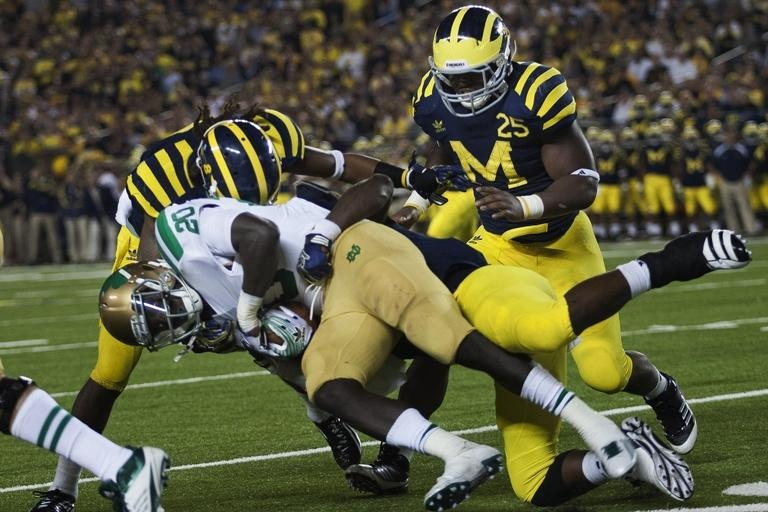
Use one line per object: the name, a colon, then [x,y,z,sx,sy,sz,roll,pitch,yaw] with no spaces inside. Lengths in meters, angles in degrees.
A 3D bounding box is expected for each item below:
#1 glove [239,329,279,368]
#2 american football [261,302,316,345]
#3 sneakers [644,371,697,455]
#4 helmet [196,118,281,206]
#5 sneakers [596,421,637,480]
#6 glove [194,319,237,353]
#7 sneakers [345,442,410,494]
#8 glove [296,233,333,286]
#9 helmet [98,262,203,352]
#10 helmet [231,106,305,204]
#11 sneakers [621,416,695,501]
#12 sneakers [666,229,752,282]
glove: [-0.527,0.388,3.859,0.093,0.140,0.189,-35,-24,-9]
american football: [-0.388,0.264,3.841,0.198,0.151,0.183,29,3,-9]
sneakers: [1.324,0.729,4.252,0.194,0.448,0.152,36,-62,-27]
helmet: [-0.645,-0.405,4.078,0.327,0.381,0.372,-34,14,-13]
sneakers: [0.913,0.743,3.448,0.137,0.200,0.166,7,11,30]
glove: [-0.717,0.352,3.879,0.183,0.149,0.136,15,-33,-9]
sneakers: [-0.008,0.941,4.077,0.125,0.258,0.372,-17,-27,33]
glove: [-0.284,0.014,3.690,0.145,0.195,0.088,-29,-22,30]
helmet: [-0.998,0.230,3.909,0.480,0.364,0.371,9,-1,-3]
helmet: [-0.488,-0.536,4.402,0.338,0.304,0.262,-14,-15,23]
sneakers: [1.154,0.853,3.769,0.178,0.153,0.399,2,34,-48]
sneakers: [1.301,0.006,3.555,0.298,0.119,0.169,-8,33,31]
